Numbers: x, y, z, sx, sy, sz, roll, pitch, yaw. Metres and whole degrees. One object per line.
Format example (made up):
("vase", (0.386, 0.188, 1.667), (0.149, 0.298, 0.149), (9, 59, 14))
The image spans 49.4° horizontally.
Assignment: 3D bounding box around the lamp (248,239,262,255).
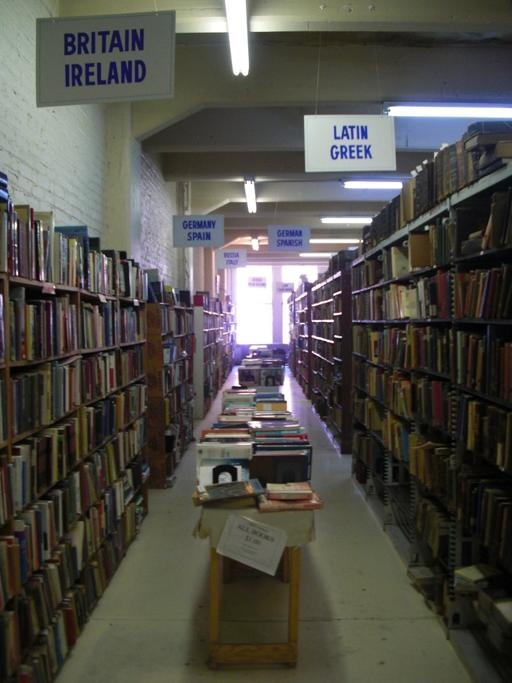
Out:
("lamp", (-0.056, -2.623, 15.435), (0.236, 0.280, 0.487), (-11, 30, 7))
